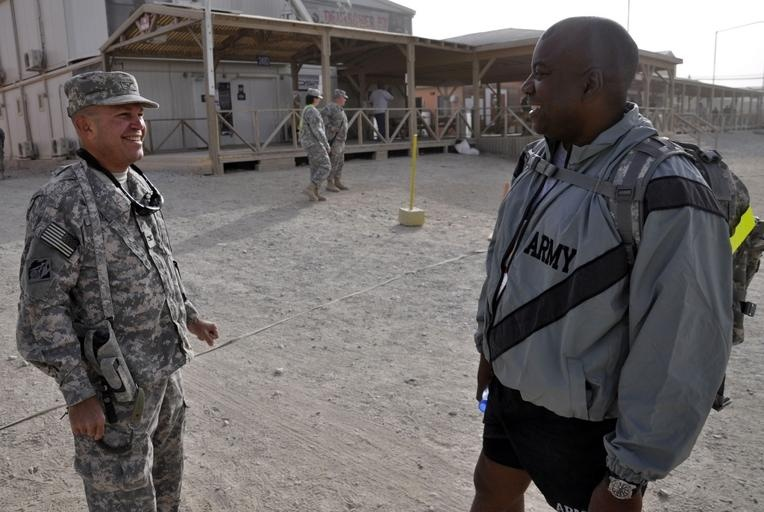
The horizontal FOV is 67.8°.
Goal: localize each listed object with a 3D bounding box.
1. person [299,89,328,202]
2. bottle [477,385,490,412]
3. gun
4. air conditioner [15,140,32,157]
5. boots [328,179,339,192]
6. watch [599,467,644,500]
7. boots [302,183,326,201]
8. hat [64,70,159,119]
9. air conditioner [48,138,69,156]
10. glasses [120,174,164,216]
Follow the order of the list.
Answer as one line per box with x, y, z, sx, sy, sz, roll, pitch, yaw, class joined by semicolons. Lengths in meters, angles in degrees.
-1.141;-1.972;9.928;0.460;1.868;1.254;-1;13;-6;person
0.440;0.617;2.449;0.063;0.100;0.106;-2;8;12;bottle
-1.174;0.471;2.473;0.103;0.284;0.282;-19;21;10;gun
-12.642;-3.847;20.132;0.390;0.774;0.828;-3;6;-38;air conditioner
-0.855;-1.314;10.524;0.280;0.253;0.127;-5;29;-10;boots
0.811;0.751;1.904;0.109;0.054;0.087;-4;14;-23;watch
-1.114;-1.111;9.697;0.494;0.384;0.179;-7;31;-41;boots
-1.229;-0.708;2.597;0.326;0.124;0.241;-9;13;-13;hat
-9.942;-3.402;17.559;0.413;0.642;0.754;-5;9;-42;air conditioner
-1.148;-0.294;2.714;0.163;0.215;0.080;-33;-6;-40;glasses
